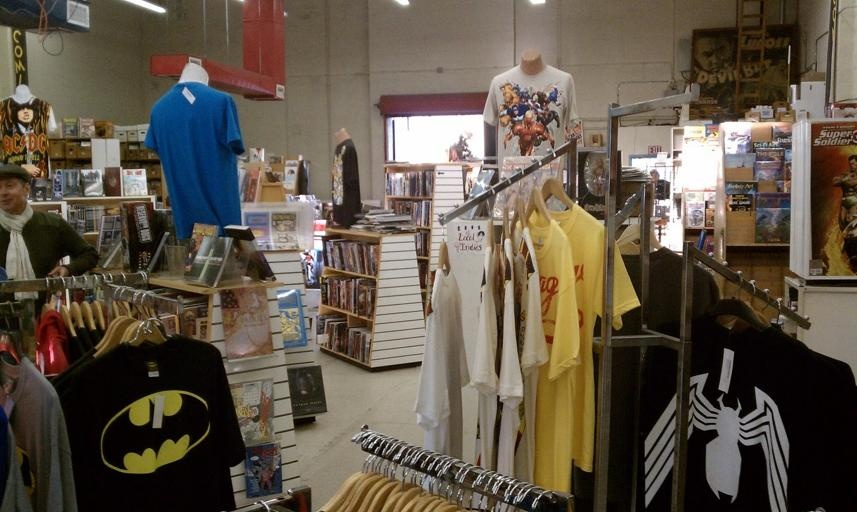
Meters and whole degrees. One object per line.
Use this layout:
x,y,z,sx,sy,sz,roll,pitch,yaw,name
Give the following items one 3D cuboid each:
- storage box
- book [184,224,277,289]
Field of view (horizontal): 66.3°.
-5.267,-1.436,10.570,1.630,1.585,0.528,-1,2,-5,storage box
-1.479,-0.011,4.704,0.582,0.425,0.360,1,9,16,book
